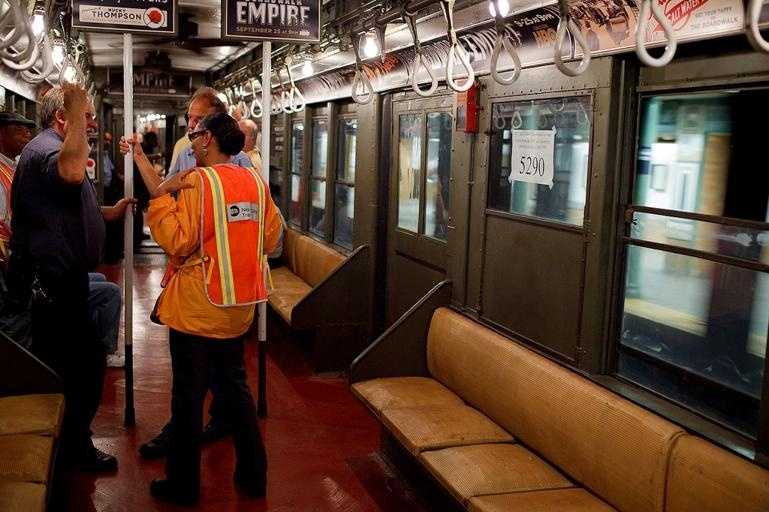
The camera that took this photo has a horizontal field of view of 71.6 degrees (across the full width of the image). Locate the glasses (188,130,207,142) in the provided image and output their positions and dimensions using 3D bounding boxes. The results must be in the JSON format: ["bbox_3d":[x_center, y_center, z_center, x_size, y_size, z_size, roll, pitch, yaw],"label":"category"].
[{"bbox_3d":[-1.299,-0.844,3.761,0.142,0.042,0.142,-25,7,-21],"label":"glasses"}]

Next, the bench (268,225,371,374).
[{"bbox_3d":[-1.361,0.322,7.352,0.942,1.373,2.816,-9,21,-32],"label":"bench"}]

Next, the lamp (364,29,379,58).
[{"bbox_3d":[-0.116,-2.141,5.436,0.137,0.187,0.357,2,10,-4],"label":"lamp"}]
